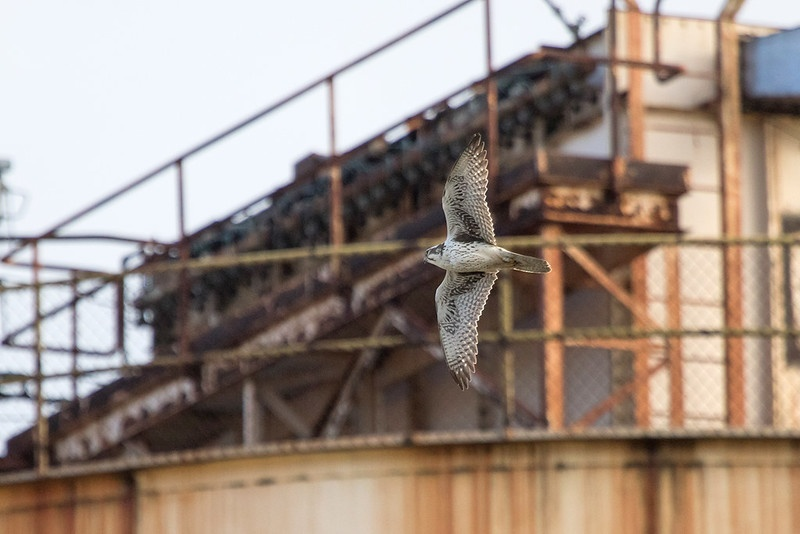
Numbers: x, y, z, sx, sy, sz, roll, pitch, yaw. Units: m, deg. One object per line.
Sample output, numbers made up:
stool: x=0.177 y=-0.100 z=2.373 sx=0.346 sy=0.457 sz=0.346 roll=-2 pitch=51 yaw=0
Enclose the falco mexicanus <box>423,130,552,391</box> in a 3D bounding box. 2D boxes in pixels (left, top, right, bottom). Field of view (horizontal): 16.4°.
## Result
falco mexicanus: x=1.037 y=-0.010 z=37.121 sx=1.140 sy=3.212 sz=1.670 roll=3 pitch=-23 yaw=-16
